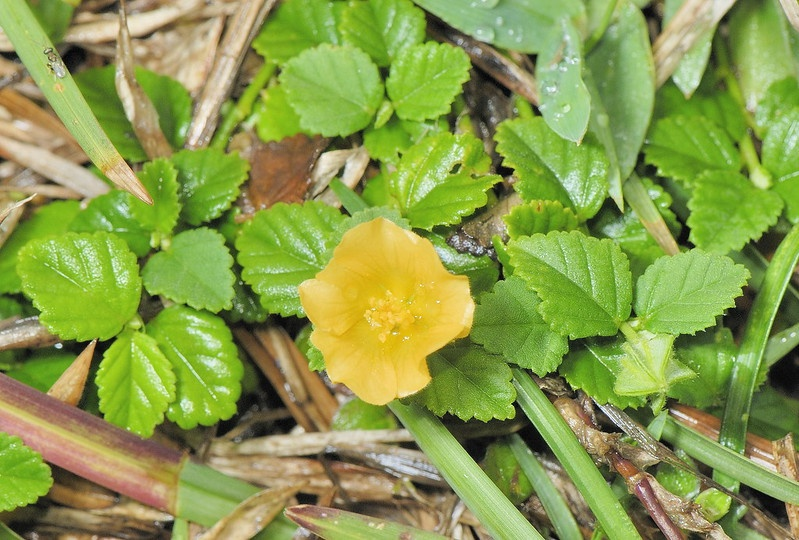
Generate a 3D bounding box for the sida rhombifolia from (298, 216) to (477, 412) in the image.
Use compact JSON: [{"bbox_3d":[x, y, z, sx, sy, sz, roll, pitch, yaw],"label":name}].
[{"bbox_3d":[0.010,0.062,1.420,0.415,0.441,0.189,-13,-58,9],"label":"sida rhombifolia"}]
